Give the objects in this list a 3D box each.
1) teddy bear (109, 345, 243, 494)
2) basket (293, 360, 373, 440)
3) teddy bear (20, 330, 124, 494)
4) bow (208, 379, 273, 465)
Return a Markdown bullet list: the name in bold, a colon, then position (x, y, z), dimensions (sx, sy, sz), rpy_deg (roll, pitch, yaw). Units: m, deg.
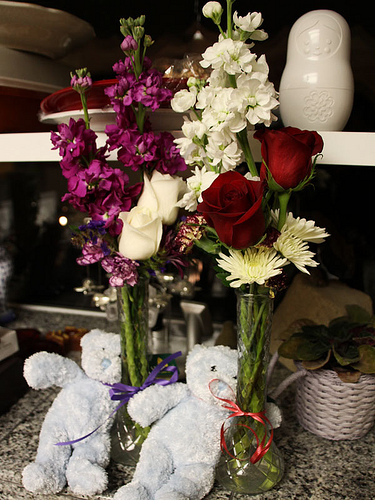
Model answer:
- **teddy bear**: position (-0.016, 0.239, 0.694), dimensions (0.146, 0.085, 0.227), rpy_deg (24, 69, -8)
- **basket**: position (0.227, 0.235, 0.816), dimensions (0.146, 0.125, 0.140), rpy_deg (0, 0, -12)
- **teddy bear**: position (-0.159, 0.232, 0.687), dimensions (0.178, 0.078, 0.200), rpy_deg (20, 61, -23)
- **bow**: position (0.069, 0.234, 0.640), dimensions (0.077, 0.124, 0.079), rpy_deg (-16, 32, -21)
